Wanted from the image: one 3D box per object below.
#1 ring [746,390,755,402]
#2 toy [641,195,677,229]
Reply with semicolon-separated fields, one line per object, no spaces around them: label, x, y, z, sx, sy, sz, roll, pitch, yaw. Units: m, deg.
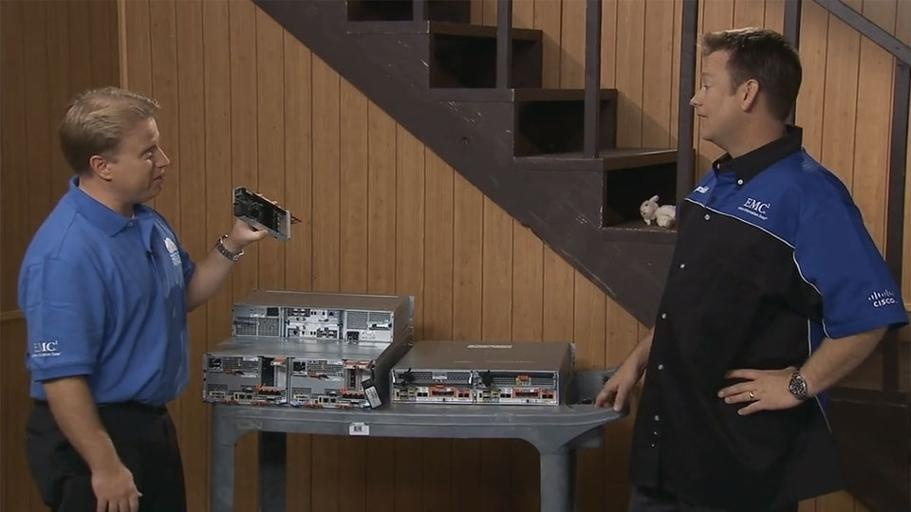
ring;1.176;0.561;5.594;0.024;0.036;0.019;-5;3;16
toy;0.922;-0.196;6.401;0.142;0.132;0.102;12;15;-12
